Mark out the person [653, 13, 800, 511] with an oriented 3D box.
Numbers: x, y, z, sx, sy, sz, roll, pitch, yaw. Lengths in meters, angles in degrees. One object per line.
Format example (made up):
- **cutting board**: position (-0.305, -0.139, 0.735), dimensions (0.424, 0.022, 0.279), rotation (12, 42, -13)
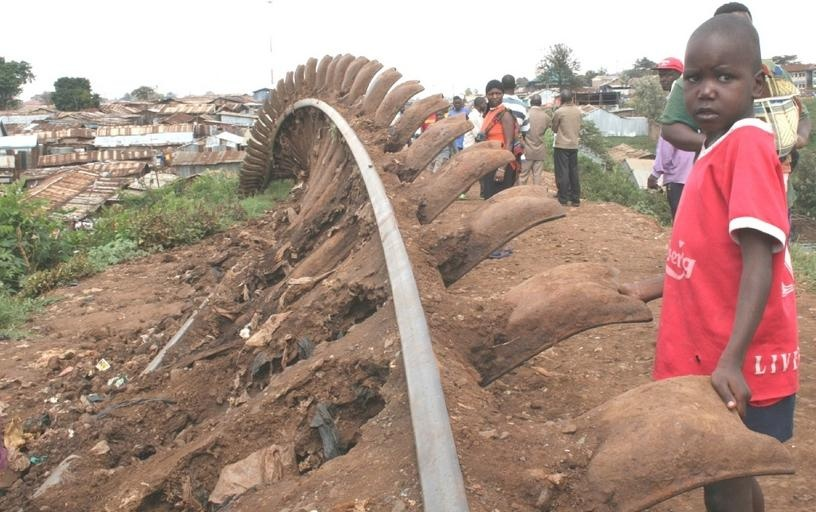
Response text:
- **person**: position (1.653, -0.132, 3.035), dimensions (0.622, 2.086, 0.564), rotation (-2, 9, -19)
